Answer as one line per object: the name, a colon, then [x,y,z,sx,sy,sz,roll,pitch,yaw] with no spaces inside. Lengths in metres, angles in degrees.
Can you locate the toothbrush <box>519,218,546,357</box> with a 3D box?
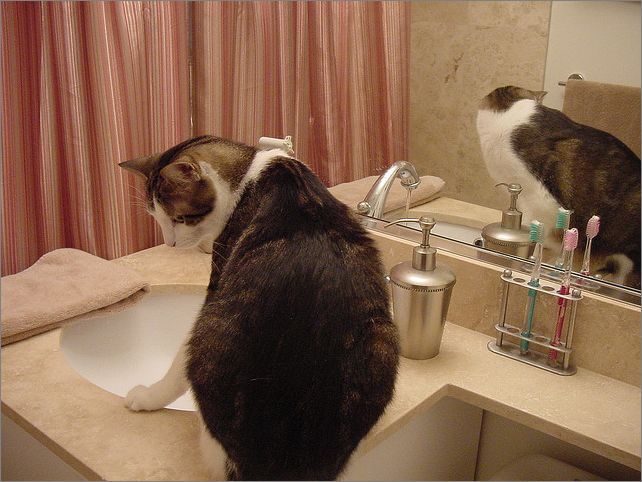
toothbrush: [0.448,0.117,1.172,0.028,0.328,0.040,8,5,40]

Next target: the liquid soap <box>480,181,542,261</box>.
liquid soap: [0.439,-0.037,1.242,0.130,0.197,0.127,1,24,11]
